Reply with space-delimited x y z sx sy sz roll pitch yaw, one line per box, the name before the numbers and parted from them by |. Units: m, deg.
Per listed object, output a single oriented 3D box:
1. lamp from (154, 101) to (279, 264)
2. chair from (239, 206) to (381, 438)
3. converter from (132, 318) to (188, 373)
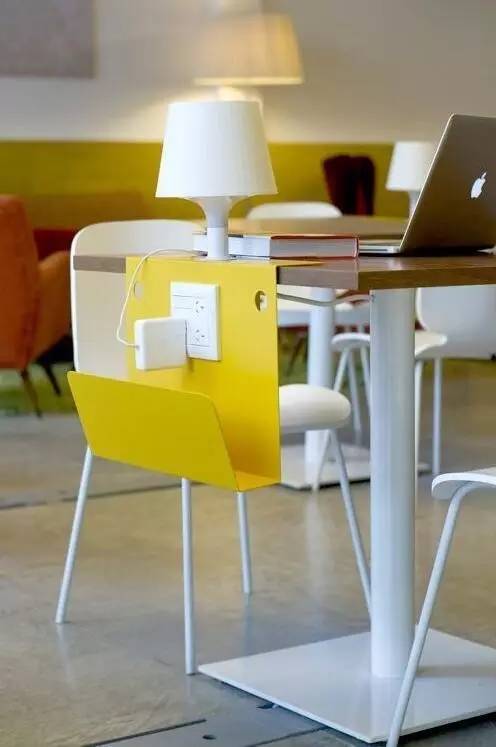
lamp | -0.054 -0.295 1.261 0.208 0.234 0.202 -8 11 -22
chair | 0.347 -0.207 3.428 0.469 1.015 0.550 -11 16 -38
converter | -0.134 -0.044 1.220 0.031 0.076 0.088 6 10 43
